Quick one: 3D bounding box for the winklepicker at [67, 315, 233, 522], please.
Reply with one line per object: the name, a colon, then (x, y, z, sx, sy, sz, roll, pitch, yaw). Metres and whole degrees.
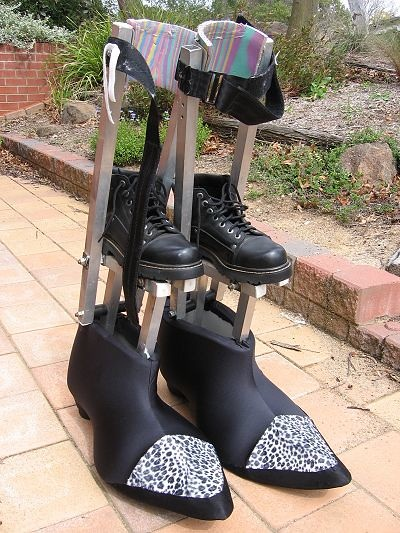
winklepicker: (-0.120, 0.343, 1.074, 0.232, 0.234, 0.545, -19, 44, -41)

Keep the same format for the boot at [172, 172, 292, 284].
boot: (0.079, -0.102, 1.108, 0.150, 0.192, 0.371, -18, 31, -35)

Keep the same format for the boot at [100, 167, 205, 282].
boot: (-0.125, -0.102, 1.009, 0.136, 0.204, 0.348, -10, 22, -39)
